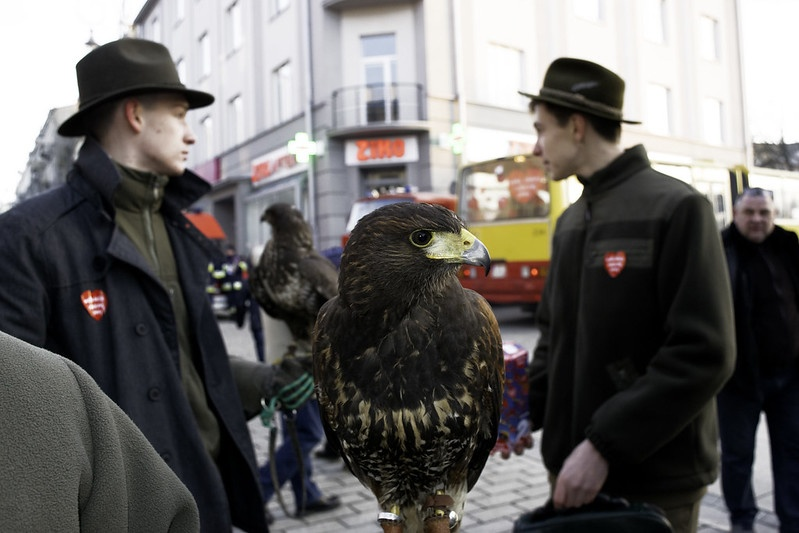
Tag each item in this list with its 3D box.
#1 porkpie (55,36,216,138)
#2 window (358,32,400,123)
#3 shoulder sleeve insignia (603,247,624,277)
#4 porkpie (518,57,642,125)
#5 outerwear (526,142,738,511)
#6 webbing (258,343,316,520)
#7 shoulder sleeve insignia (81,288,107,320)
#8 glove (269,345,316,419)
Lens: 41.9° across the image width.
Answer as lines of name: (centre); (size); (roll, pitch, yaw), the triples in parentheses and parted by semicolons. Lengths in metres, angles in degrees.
porkpie: (-1.281, -0.861, 4.908); (0.740, 0.377, 0.579); (-12, 0, -18)
window: (-0.098, -0.871, 4.933); (0.174, 0.444, 0.043); (-2, -9, 7)
shoulder sleeve insignia: (0.949, -0.030, 4.633); (0.093, 0.104, 0.026); (-2, -8, 42)
porkpie: (0.882, -0.851, 4.989); (0.635, 0.250, 0.608); (18, 11, 22)
outerwear: (1.050, 0.196, 5.006); (0.761, 1.578, 1.462); (2, -5, -21)
webbing: (-0.653, 0.989, 6.379); (0.341, 1.031, 0.312); (-7, -7, 18)
shoulder sleeve insignia: (-1.355, 0.162, 4.605); (0.112, 0.116, 0.016); (-13, -1, -35)
glove: (-0.575, 0.627, 5.722); (0.320, 0.147, 0.252); (-25, 15, 28)
